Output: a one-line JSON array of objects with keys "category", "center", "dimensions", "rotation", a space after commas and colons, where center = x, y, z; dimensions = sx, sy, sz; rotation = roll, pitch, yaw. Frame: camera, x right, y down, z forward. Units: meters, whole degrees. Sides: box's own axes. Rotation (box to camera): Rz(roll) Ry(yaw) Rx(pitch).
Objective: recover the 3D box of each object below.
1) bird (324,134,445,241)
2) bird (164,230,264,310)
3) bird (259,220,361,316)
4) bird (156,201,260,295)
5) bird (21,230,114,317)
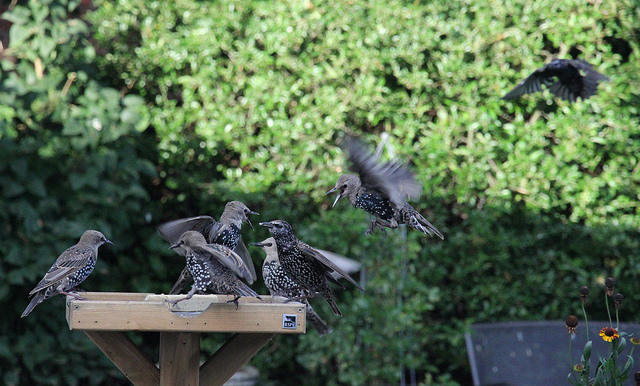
[{"category": "bird", "center": [0.609, 0.009, 9.499], "dimensions": [0.993, 0.724, 1.220], "rotation": [3, 14, 6]}, {"category": "bird", "center": [-0.846, 0.624, 9.173], "dimensions": [0.771, 0.622, 1.023], "rotation": [4, -5, -1]}, {"category": "bird", "center": [-0.072, 0.628, 9.536], "dimensions": [1.013, 0.625, 0.907], "rotation": [10, -1, -26]}, {"category": "bird", "center": [-1.029, 0.419, 9.578], "dimensions": [0.742, 0.743, 0.728], "rotation": [12, -12, -29]}, {"category": "bird", "center": [-2.070, 0.663, 9.258], "dimensions": [0.358, 0.581, 0.721], "rotation": [25, 26, 26]}]
